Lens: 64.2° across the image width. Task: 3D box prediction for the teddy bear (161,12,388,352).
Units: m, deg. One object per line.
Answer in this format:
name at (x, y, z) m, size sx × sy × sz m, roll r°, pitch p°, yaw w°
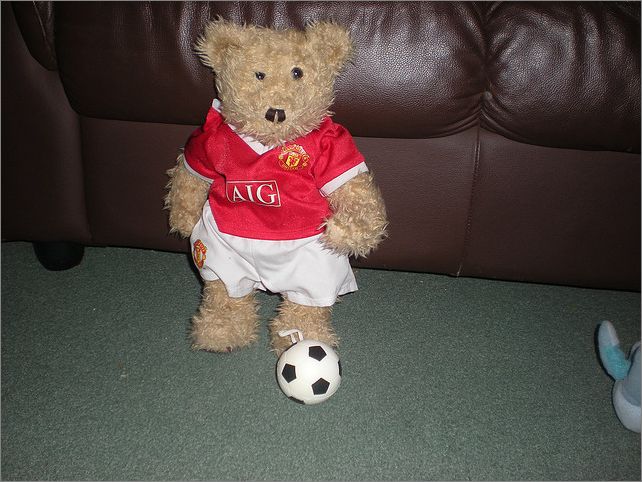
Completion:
teddy bear at (-0.133, -0.107, 1.281) m, size 0.517 × 0.647 × 0.649 m, roll -11°, pitch 60°, yaw -12°
